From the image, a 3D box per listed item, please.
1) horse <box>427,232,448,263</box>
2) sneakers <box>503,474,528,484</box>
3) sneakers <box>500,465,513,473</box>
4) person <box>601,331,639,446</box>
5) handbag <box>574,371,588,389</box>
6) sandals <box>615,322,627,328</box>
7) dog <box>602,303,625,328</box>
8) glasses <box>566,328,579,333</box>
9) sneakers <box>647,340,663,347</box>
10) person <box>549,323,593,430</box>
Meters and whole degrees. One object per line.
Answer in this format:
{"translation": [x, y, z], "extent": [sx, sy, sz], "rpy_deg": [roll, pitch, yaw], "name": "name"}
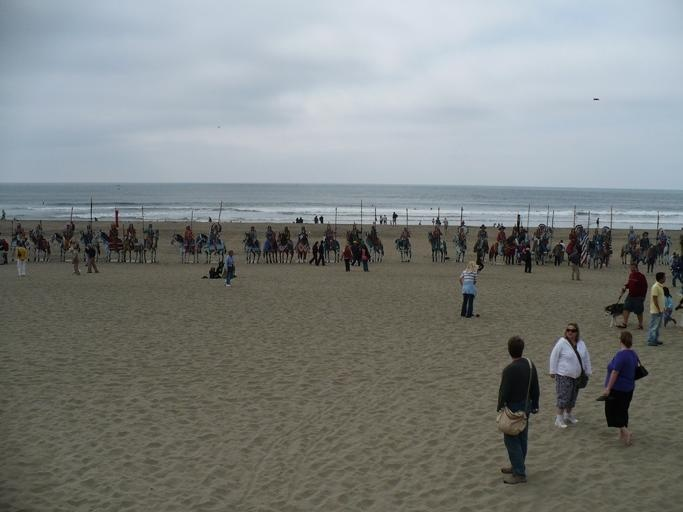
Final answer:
{"translation": [5.503, -0.495, 46.542], "extent": [0.545, 1.433, 2.161], "rpy_deg": [-5, -12, 41], "name": "horse"}
{"translation": [3.745, 4.822, 17.687], "extent": [0.481, 0.236, 0.192], "rpy_deg": [3, 0, 6], "name": "sneakers"}
{"translation": [3.614, 4.685, 17.997], "extent": [0.199, 0.201, 0.102], "rpy_deg": [4, -2, 41], "name": "sneakers"}
{"translation": [6.356, 3.010, 18.742], "extent": [0.746, 2.515, 0.829], "rpy_deg": [4, 9, 22], "name": "person"}
{"translation": [5.491, 2.839, 18.814], "extent": [0.292, 0.575, 0.390], "rpy_deg": [2, -7, -1], "name": "handbag"}
{"translation": [8.806, 2.206, 25.824], "extent": [0.273, 0.101, 0.140], "rpy_deg": [10, -3, -40], "name": "sandals"}
{"translation": [8.736, 1.811, 26.326], "extent": [0.510, 0.884, 1.929], "rpy_deg": [3, 9, 18], "name": "dog"}
{"translation": [5.277, 1.720, 18.876], "extent": [0.276, 0.137, 0.194], "rpy_deg": [5, 10, 27], "name": "glasses"}
{"translation": [9.155, 2.537, 24.002], "extent": [0.423, 0.203, 0.155], "rpy_deg": [-4, 10, -16], "name": "sneakers"}
{"translation": [5.310, 2.804, 19.139], "extent": [0.866, 2.504, 0.897], "rpy_deg": [3, 9, 16], "name": "person"}
